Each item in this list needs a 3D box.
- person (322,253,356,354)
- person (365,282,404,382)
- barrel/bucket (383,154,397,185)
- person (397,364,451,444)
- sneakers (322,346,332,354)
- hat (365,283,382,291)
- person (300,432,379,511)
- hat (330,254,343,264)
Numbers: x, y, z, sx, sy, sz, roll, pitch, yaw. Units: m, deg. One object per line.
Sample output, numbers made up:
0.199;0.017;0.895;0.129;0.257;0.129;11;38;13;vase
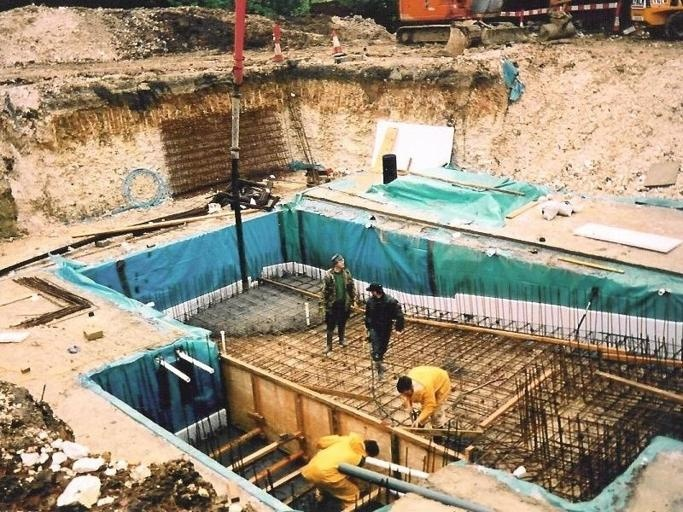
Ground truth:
-0.052;0.711;10.287;0.486;1.646;0.559;0;26;2;person
0.601;1.014;9.505;0.532;1.466;0.542;1;26;3;person
0.965;-1.675;12.982;0.308;0.573;0.294;-1;25;0;barrel/bucket
1.057;1.763;8.458;0.523;0.901;0.737;8;25;17;person
-0.241;1.464;10.565;0.119;0.108;0.132;-1;1;-1;sneakers
0.414;0.437;9.173;0.186;0.075;0.128;14;21;30;hat
-0.074;2.557;8.035;0.799;0.929;0.599;10;27;23;person
-0.082;0.055;9.977;0.214;0.129;0.138;-16;15;6;hat
